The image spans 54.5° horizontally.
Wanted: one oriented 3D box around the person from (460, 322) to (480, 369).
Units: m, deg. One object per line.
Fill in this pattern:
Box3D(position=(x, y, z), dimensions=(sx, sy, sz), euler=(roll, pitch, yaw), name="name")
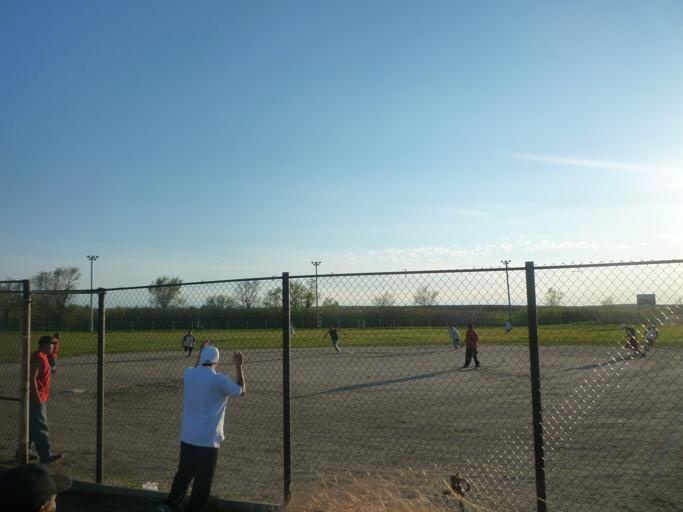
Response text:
Box3D(position=(4.711, 3.399, 24.136), dimensions=(0.532, 1.512, 2.145), euler=(-1, -2, 10), name="person")
